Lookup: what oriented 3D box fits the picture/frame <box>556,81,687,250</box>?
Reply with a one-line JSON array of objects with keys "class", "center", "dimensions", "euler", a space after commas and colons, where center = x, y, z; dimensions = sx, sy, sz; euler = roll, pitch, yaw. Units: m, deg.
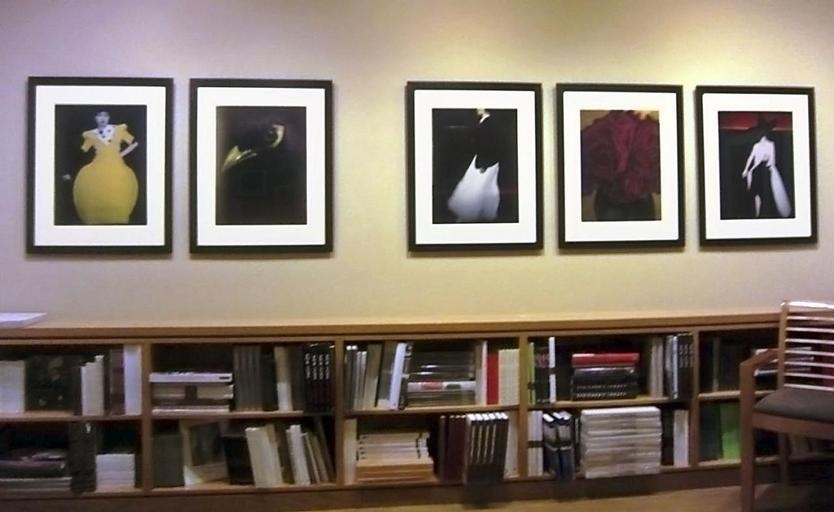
[{"class": "picture/frame", "center": [1.582, -0.752, 5.737], "dimensions": [1.411, 1.611, 0.070], "euler": [1, -3, -7]}]

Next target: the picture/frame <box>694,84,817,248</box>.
[{"class": "picture/frame", "center": [2.701, -0.753, 5.821], "dimensions": [1.369, 1.642, 0.123], "euler": [-1, 0, -3]}]

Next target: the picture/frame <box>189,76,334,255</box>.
[{"class": "picture/frame", "center": [-1.261, -0.729, 5.577], "dimensions": [1.458, 1.672, 0.122], "euler": [0, -2, 0]}]

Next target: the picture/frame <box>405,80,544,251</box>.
[{"class": "picture/frame", "center": [0.400, -0.740, 5.656], "dimensions": [1.400, 1.532, 0.076], "euler": [1, -1, -5]}]
